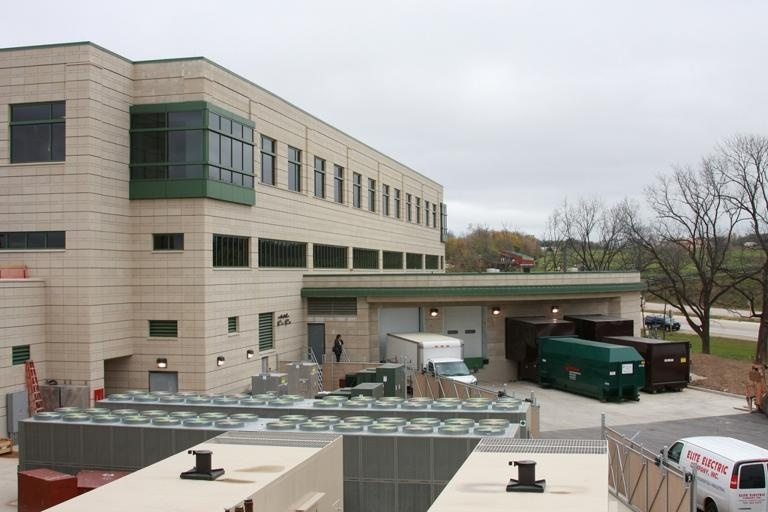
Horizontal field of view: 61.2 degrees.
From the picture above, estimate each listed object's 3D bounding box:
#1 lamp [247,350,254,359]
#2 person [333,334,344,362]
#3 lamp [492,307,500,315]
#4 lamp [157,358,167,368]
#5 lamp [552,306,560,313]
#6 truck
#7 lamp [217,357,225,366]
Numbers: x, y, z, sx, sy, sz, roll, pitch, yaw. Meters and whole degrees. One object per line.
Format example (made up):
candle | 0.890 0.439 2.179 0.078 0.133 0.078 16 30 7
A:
lamp | -7.953 5.825 38.402 0.451 0.590 0.435 -2 -3 8
person | -3.159 6.274 44.029 0.753 1.756 0.915 0 0 -4
lamp | 8.152 4.032 47.313 0.674 0.605 0.329 0 0 -8
lamp | -11.949 5.757 34.878 0.559 0.488 0.181 0 -4 -3
lamp | 12.688 4.037 48.457 0.564 0.475 0.132 1 -1 -7
truck | 2.925 6.741 39.870 3.035 3.256 6.791 -2 2 -22
lamp | -8.980 5.790 35.580 0.296 0.533 0.561 0 -6 8
